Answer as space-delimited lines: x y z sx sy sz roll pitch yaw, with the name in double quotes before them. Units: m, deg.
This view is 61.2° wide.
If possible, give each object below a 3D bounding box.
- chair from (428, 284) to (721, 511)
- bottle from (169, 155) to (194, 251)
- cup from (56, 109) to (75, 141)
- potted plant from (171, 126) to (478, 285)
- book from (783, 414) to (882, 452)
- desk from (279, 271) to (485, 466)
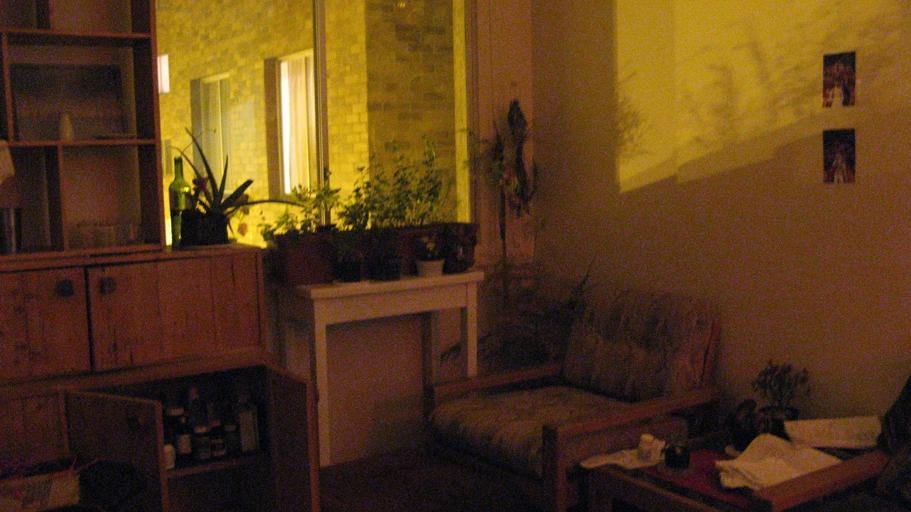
"chair" 0.825 0.859 5.276 1.651 1.146 1.535 -3 5 -31
"bottle" -1.779 -0.352 4.965 0.146 0.564 0.270 -5 9 -18
"cup" -2.320 -0.764 4.585 0.085 0.174 0.239 -6 9 -25
"potted plant" -0.864 -0.300 5.533 2.117 0.849 0.869 -3 6 -26
"book" 2.254 1.052 4.605 0.396 0.077 0.237 -1 36 9
"desk" -0.437 0.689 5.510 1.116 0.980 0.476 -8 3 -20
